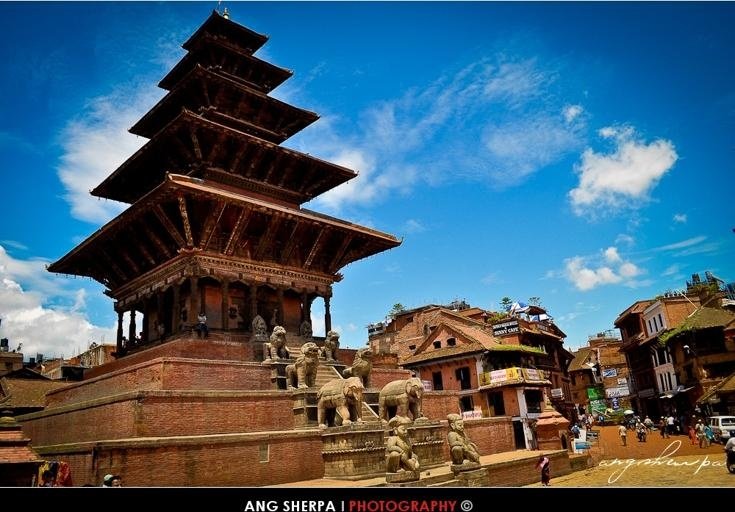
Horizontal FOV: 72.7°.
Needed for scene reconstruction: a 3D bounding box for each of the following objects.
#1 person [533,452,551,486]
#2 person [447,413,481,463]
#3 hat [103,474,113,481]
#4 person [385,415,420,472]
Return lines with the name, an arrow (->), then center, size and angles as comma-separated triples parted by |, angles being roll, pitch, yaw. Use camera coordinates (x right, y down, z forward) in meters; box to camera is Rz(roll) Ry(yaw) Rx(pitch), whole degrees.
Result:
person -> 5.907, 7.221, 16.907 | 0.359, 0.924, 1.158 | -10, -24, 10
person -> 2.906, 5.674, 15.545 | 0.853, 1.526, 1.059 | -8, -24, 6
hat -> -5.836, 5.001, 11.238 | 0.163, 0.145, 0.368 | 8, -25, -26
person -> 0.838, 5.032, 13.364 | 0.786, 1.423, 0.679 | -10, -25, 12
